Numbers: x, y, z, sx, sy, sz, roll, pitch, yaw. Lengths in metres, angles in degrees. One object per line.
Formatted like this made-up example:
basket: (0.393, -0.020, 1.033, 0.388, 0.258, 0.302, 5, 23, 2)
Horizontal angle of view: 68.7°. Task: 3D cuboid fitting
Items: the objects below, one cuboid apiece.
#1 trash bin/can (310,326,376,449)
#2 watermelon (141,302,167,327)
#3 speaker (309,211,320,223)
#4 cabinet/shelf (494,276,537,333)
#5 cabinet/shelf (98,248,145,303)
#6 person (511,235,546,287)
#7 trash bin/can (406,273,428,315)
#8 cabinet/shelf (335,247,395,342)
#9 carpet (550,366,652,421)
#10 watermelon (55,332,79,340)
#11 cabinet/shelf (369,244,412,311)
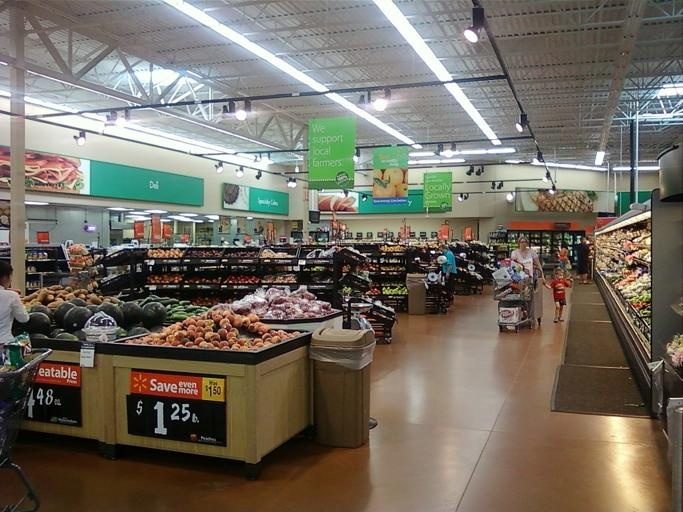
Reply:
trash bin/can: (-0.011, 1.141, 4.610, 0.606, 0.948, 0.618, 5, 4, 13)
watermelon: (-1.890, 0.608, 5.176, 0.249, 0.243, 0.231, -1, -7, -1)
speaker: (-1.025, -1.476, 18.610, 0.354, 0.410, 0.808, 0, 2, -2)
cabinet/shelf: (3.435, 0.940, 9.959, 0.613, 1.016, 1.046, 1, 3, 29)
cabinet/shelf: (-4.962, 0.331, 10.967, 1.037, 1.232, 1.240, 0, -1, -41)
person: (3.777, 0.114, 10.110, 0.679, 1.124, 0.600, 3, 3, 21)
trash bin/can: (1.775, 0.896, 11.966, 0.460, 0.943, 0.302, 0, 2, 7)
cabinet/shelf: (0.421, 0.636, 8.748, 1.345, 2.137, 1.756, -2, 2, -2)
carpet: (2.994, 1.553, 5.895, 0.911, 0.033, 1.950, 1, 2, 24)
watermelon: (-2.462, 0.719, 4.474, 0.149, 0.076, 0.118, 10, -11, -20)
cabinet/shelf: (1.198, 0.508, 12.511, 0.777, 1.611, 0.882, -2, 3, 20)
